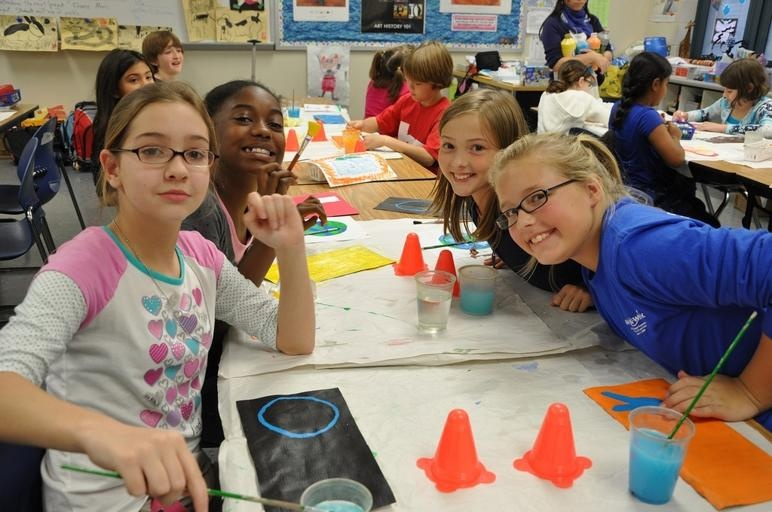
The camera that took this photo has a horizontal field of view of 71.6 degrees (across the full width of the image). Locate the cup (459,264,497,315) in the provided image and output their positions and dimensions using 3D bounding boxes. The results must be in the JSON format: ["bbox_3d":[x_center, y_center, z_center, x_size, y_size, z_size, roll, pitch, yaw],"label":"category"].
[{"bbox_3d":[0.291,0.110,1.734,0.142,0.134,0.134,2,15,0],"label":"cup"}]

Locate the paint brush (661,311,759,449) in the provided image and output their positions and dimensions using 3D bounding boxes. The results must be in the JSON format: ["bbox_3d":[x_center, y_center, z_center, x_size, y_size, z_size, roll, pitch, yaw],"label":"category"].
[{"bbox_3d":[0.802,0.301,1.322,0.019,0.453,0.018,-8,48,-40],"label":"paint brush"}]

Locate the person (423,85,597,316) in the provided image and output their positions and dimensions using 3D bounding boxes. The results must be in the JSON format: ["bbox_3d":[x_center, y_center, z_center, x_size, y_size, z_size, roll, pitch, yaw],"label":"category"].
[{"bbox_3d":[0.521,-0.221,2.111,0.708,0.747,0.662,6,17,23],"label":"person"}]

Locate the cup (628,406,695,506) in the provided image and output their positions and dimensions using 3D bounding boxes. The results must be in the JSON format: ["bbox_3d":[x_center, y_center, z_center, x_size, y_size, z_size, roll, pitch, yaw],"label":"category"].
[{"bbox_3d":[0.565,0.406,1.132,0.118,0.163,0.147,14,25,31],"label":"cup"}]

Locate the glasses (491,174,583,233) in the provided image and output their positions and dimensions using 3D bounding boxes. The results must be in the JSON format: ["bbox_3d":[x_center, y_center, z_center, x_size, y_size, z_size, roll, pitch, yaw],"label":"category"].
[{"bbox_3d":[0.397,-0.147,1.504,0.156,0.045,0.152,-29,-6,-41],"label":"glasses"}]

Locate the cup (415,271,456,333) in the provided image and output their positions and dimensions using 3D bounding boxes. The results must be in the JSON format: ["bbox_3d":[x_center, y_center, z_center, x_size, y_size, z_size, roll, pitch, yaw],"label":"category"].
[{"bbox_3d":[0.134,0.145,1.639,0.157,0.169,0.146,-1,8,0],"label":"cup"}]

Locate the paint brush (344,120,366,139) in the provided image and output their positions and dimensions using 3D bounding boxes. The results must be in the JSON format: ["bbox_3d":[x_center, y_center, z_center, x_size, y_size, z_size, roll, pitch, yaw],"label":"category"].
[{"bbox_3d":[-0.241,-0.918,3.908,0.167,0.089,0.303,0,17,3],"label":"paint brush"}]

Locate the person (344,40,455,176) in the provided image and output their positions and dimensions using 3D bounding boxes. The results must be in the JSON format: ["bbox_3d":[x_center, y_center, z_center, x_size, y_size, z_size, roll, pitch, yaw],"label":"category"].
[{"bbox_3d":[0.098,-0.992,3.811,0.811,0.910,0.699,-4,36,-1],"label":"person"}]
